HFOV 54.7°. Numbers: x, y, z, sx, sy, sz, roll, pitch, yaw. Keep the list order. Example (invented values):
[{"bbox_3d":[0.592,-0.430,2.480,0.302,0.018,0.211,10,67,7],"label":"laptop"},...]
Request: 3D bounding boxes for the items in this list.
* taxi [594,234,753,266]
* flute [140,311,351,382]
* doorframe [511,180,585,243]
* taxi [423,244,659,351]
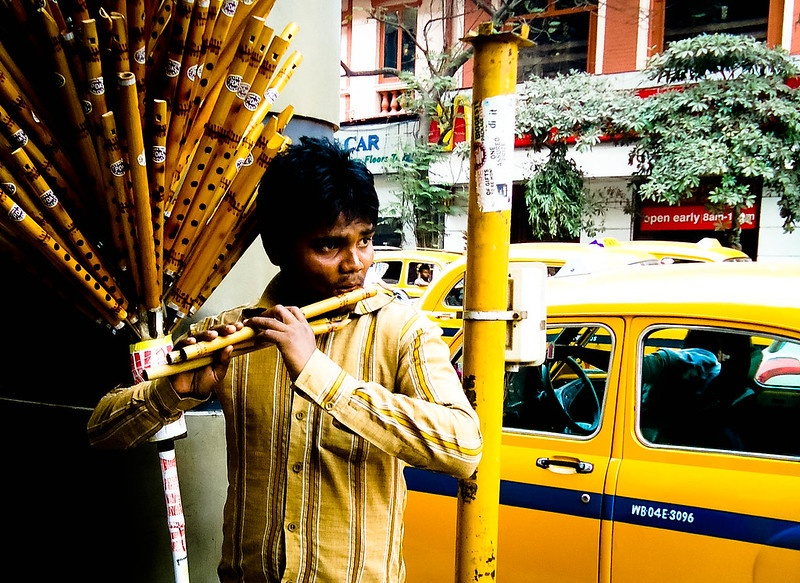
[{"bbox_3d":[3.045,-0.436,8.361,1.123,0.415,0.815,3,8,9],"label":"taxi"},{"bbox_3d":[-0.445,0.173,2.277,0.503,0.053,0.057,-19,-30,-19],"label":"flute"},{"bbox_3d":[2.499,-1.288,12.787,0.068,1.280,1.741,-4,7,-43],"label":"doorframe"},{"bbox_3d":[1.257,0.143,6.889,1.713,0.871,1.027,0,4,12],"label":"taxi"}]
